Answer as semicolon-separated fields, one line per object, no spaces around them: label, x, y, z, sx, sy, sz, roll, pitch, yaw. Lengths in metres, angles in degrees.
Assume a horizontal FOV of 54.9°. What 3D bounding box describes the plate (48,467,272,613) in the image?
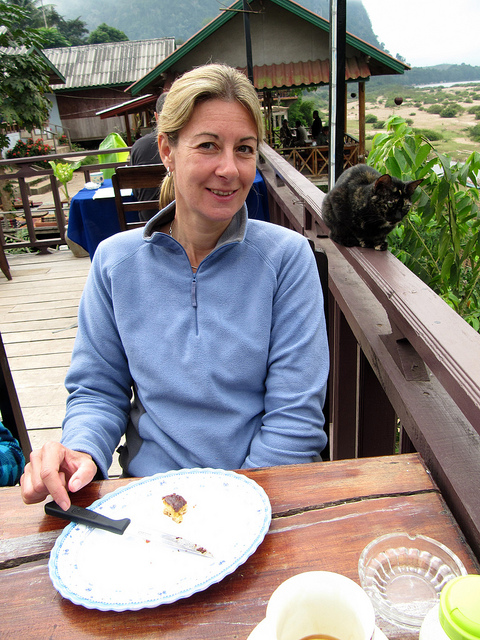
plate;-0.113;0.311;0.695;0.323;0.032;0.274;-9;18;-10

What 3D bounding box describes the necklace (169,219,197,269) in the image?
necklace;-0.162;-0.209;1.286;0.136;0.121;0.032;-3;-12;-9

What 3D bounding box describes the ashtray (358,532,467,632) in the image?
ashtray;0.204;0.306;0.564;0.122;0.040;0.099;-16;21;-31

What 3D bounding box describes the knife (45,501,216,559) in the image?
knife;-0.164;0.320;0.704;0.217;0.010;0.036;7;18;30
